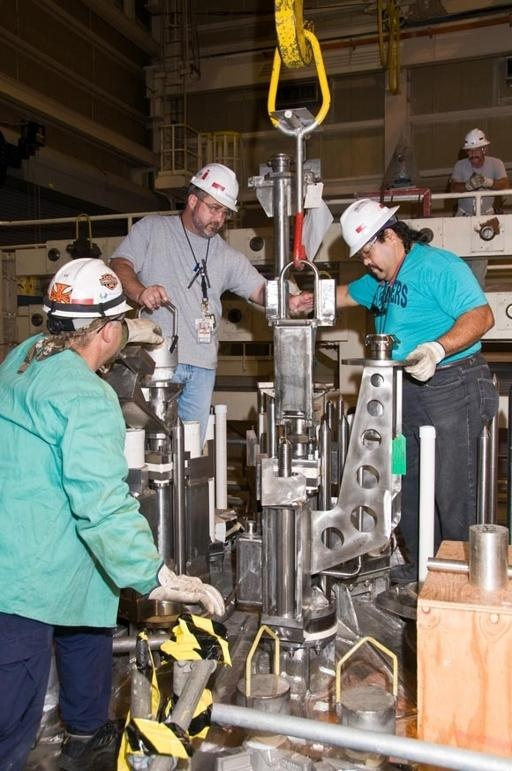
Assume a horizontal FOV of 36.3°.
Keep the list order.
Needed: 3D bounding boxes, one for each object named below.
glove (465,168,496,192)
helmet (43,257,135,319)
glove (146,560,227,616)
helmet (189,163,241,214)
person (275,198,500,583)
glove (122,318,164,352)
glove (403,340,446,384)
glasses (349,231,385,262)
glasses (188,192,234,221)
[{"bbox_3d":[1.879,-1.699,6.566,0.206,0.098,0.267,3,9,22],"label":"glove"},{"bbox_3d":[-0.478,-0.255,2.142,0.179,0.117,0.223,-1,4,3],"label":"helmet"},{"bbox_3d":[-0.170,0.509,1.949,0.146,0.148,0.219,-1,-3,12],"label":"glove"},{"bbox_3d":[-0.160,-0.918,3.624,0.231,0.129,0.181,41,15,15],"label":"helmet"},{"bbox_3d":[0.698,0.021,3.258,0.772,1.621,1.010,1,-3,-16],"label":"person"},{"bbox_3d":[-0.418,-0.178,2.829,0.174,0.083,0.086,0,-41,-29],"label":"glove"},{"bbox_3d":[0.600,-0.095,2.868,0.123,0.149,0.267,-1,-3,29],"label":"glove"},{"bbox_3d":[0.456,-0.567,3.186,0.120,0.032,0.094,-43,-19,14],"label":"glasses"},{"bbox_3d":[-0.231,-0.850,3.675,0.135,0.048,0.160,22,5,-37],"label":"glasses"}]
